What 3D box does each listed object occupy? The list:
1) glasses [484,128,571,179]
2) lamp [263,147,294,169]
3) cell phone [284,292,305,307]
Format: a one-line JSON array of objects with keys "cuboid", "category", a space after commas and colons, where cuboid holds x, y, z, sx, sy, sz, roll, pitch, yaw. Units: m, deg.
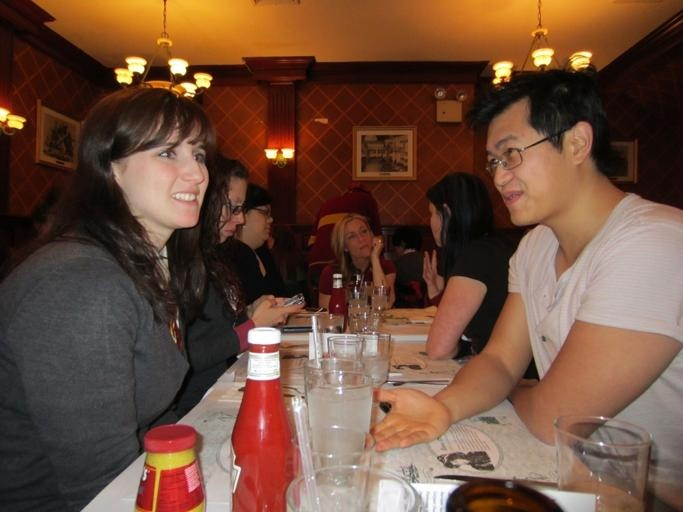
[{"cuboid": [0.612, -0.316, 1.682, 0.147, 0.046, 0.141, -32, 4, -15], "category": "glasses"}, {"cuboid": [-0.853, -1.384, 7.160, 0.349, 0.259, 0.283, 0, 12, -2], "category": "lamp"}, {"cuboid": [-0.223, 0.213, 2.421, 0.077, 0.047, 0.039, -11, -34, -11], "category": "cell phone"}]
